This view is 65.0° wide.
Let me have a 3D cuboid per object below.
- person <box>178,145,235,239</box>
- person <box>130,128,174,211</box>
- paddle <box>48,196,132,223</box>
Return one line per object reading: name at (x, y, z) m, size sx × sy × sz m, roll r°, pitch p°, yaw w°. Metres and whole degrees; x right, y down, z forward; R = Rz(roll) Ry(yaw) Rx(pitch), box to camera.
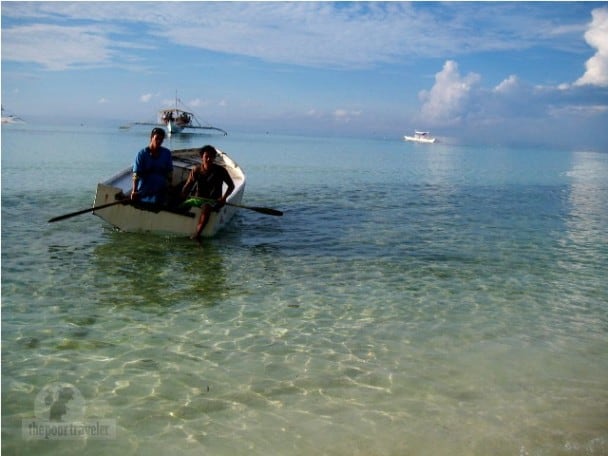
person at (-2.407, -0.878, 11.919) m, size 1.246 × 2.322 × 0.749 m, roll 1°, pitch 9°, yaw -16°
person at (-3.593, -1.430, 11.399) m, size 0.941 × 1.875 × 0.984 m, roll 0°, pitch 9°, yaw -21°
paddle at (-5.071, -0.466, 11.691) m, size 1.732 × 0.594 × 1.140 m, roll 1°, pitch 7°, yaw -9°
